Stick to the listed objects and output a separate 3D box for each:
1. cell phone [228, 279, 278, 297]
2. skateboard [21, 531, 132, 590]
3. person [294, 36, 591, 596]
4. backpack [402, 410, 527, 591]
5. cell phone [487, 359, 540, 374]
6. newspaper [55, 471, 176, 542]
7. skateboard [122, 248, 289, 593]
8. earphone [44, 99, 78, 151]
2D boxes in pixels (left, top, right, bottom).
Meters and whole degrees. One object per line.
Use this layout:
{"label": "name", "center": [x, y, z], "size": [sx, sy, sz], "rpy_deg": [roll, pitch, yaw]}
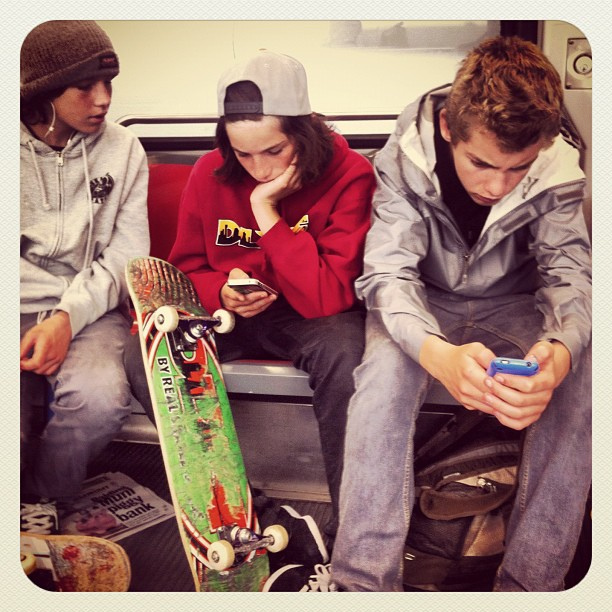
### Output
{"label": "cell phone", "center": [-0.153, -0.048, 1.658], "size": [0.096, 0.013, 0.151], "rpy_deg": [11, -6, 12]}
{"label": "skateboard", "center": [-0.621, 0.677, 1.564], "size": [0.311, 0.146, 0.090], "rpy_deg": [0, 15, 12]}
{"label": "person", "center": [0.341, 0.037, 1.509], "size": [0.851, 1.392, 0.588], "rpy_deg": [-4, 15, -3]}
{"label": "backpack", "center": [0.367, 0.585, 1.749], "size": [0.405, 0.310, 0.261], "rpy_deg": [16, -2, -6]}
{"label": "cell phone", "center": [0.442, 0.129, 1.253], "size": [0.083, 0.017, 0.040], "rpy_deg": [-1, 7, -16]}
{"label": "newspaper", "center": [-0.581, 0.620, 1.799], "size": [0.262, 0.011, 0.268], "rpy_deg": [17, 23, 18]}
{"label": "skateboard", "center": [-0.431, 0.216, 1.680], "size": [0.179, 1.115, 0.315], "rpy_deg": [-32, -17, 36]}
{"label": "earphone", "center": [-0.752, -0.540, 1.825], "size": [0.128, 0.101, 0.031], "rpy_deg": [12, 14, -1]}
